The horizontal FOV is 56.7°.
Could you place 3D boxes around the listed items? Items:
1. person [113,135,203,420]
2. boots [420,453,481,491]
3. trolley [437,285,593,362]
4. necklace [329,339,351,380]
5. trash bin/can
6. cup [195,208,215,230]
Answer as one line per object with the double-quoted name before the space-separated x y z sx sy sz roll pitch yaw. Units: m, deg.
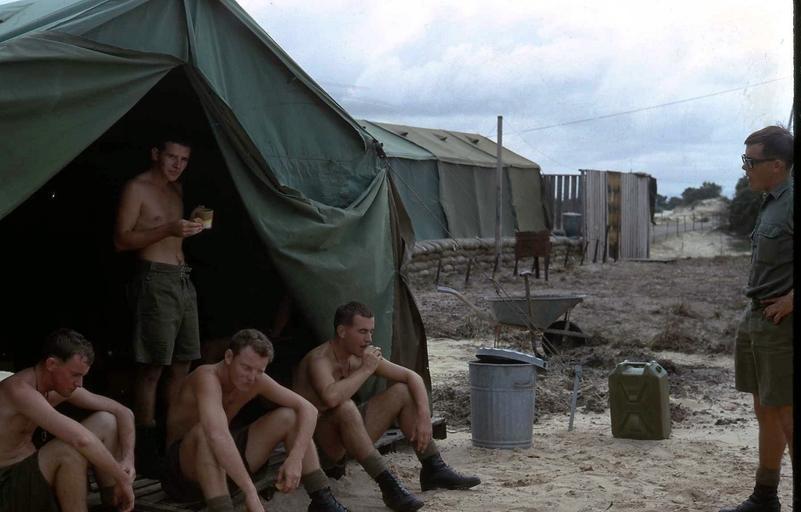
"person" -2.040 0.282 6.704 0.857 2.645 0.945 2 5 8
"boots" 0.388 1.891 6.594 0.607 0.434 0.243 -3 0 1
"trolley" 1.596 0.970 10.713 2.132 0.943 0.695 3 3 2
"necklace" -0.521 0.903 6.449 0.074 0.311 0.169 -17 -3 24
"trash bin/can" 1.105 1.405 7.634 0.823 1.011 0.761 0 0 24
"cup" -1.658 -0.323 6.238 0.139 0.168 0.234 1 -2 -21
